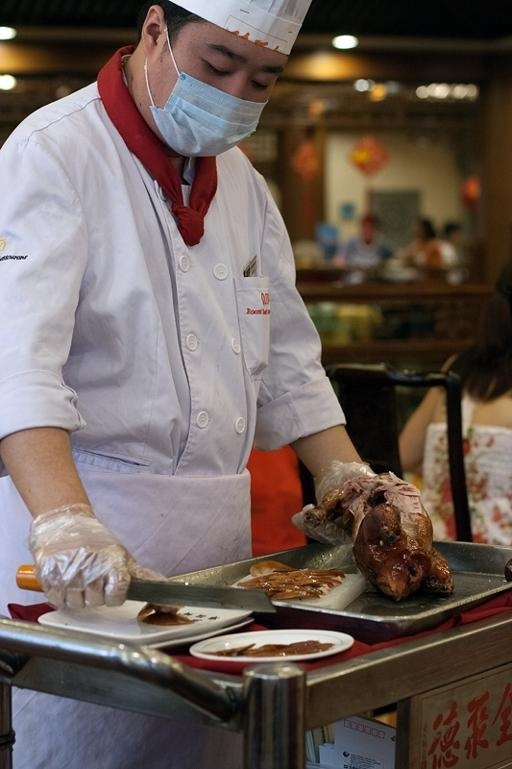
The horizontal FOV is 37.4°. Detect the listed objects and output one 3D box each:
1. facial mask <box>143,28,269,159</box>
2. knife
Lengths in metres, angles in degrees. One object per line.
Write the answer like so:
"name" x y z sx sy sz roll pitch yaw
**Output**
"facial mask" -0.108 -0.448 1.236 0.165 0.161 0.116 3 -31 -48
"knife" -0.109 0.210 0.780 0.255 0.032 0.033 7 7 -2
